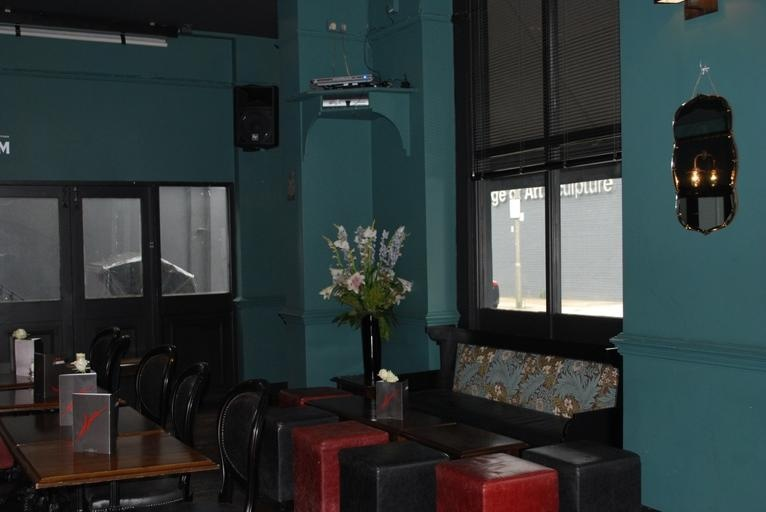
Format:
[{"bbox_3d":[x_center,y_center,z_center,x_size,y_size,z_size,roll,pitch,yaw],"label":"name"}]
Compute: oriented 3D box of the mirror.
[{"bbox_3d":[1.985,-0.569,3.861,0.352,0.871,0.133,1,2,29],"label":"mirror"}]
